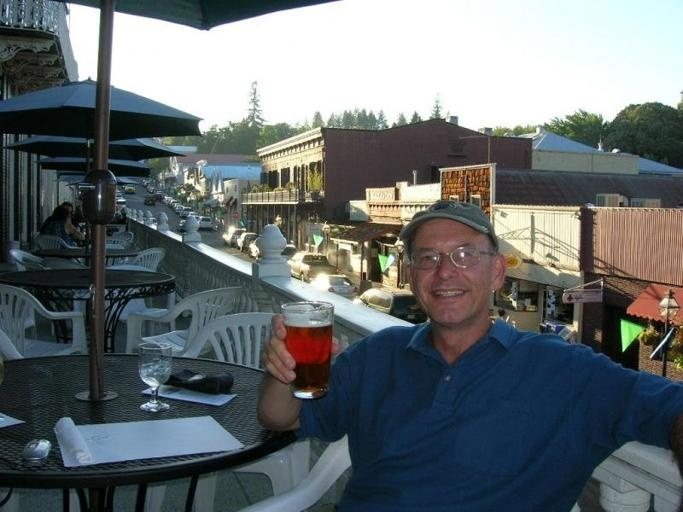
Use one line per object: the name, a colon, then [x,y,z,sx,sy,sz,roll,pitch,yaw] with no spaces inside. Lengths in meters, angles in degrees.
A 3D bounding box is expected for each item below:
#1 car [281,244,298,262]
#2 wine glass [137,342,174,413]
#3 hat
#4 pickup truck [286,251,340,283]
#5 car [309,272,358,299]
car: [-2.537,-0.126,29.145,0.906,0.850,1.620,-3,-8,-5]
wine glass: [-0.834,0.526,2.655,0.136,0.256,0.294,-2,7,-18]
hat: [0.410,-0.132,2.605,0.334,0.140,0.467,0,-18,1]
pickup truck: [-1.774,0.561,33.005,1.367,1.260,3.328,-1,7,-15]
car: [-0.227,1.172,26.129,1.120,0.871,2.505,0,8,-17]
